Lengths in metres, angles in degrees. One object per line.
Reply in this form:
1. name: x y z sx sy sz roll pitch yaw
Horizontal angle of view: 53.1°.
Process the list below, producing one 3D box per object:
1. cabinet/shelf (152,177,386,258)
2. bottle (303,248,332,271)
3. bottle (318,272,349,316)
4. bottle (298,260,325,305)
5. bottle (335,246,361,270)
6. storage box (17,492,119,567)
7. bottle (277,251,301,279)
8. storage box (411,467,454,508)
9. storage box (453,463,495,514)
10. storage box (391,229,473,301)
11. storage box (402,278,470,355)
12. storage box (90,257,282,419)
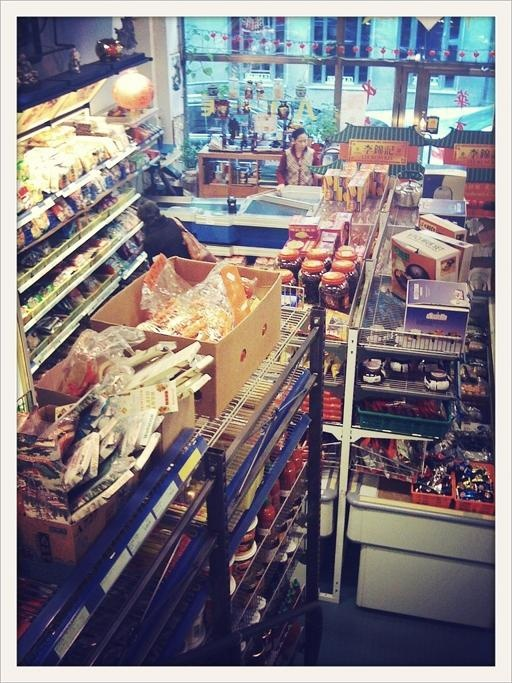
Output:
1. cabinet/shelf: 0.021 -1.434 5.971 1.700 0.578 1.278 4 22 7
2. bottle: 0.389 -0.536 3.213 0.152 0.141 0.152 -10 30 -15
3. bottle: 0.463 -0.290 3.062 0.199 0.306 0.196 -6 39 5
4. bottle: 0.352 -0.361 3.197 0.145 0.240 0.148 0 26 0
5. bottle: 0.587 -0.541 3.248 0.152 0.148 0.156 2 34 9
6. storage box: -0.401 0.401 1.097 0.147 0.094 0.152 12 27 21
7. bottle: 0.199 -0.513 3.309 0.159 0.252 0.153 -2 29 1
8. storage box: 1.078 0.859 3.085 0.198 0.125 0.204 4 36 12
9. storage box: 1.318 0.874 3.113 0.219 0.151 0.362 6 20 19
10. storage box: 0.980 -0.431 2.863 0.204 0.341 0.340 -22 36 -32
11. storage box: 0.981 -0.141 2.827 0.347 0.327 0.284 1 40 9
12. storage box: -0.162 -0.009 1.839 0.475 0.322 0.665 12 33 14
